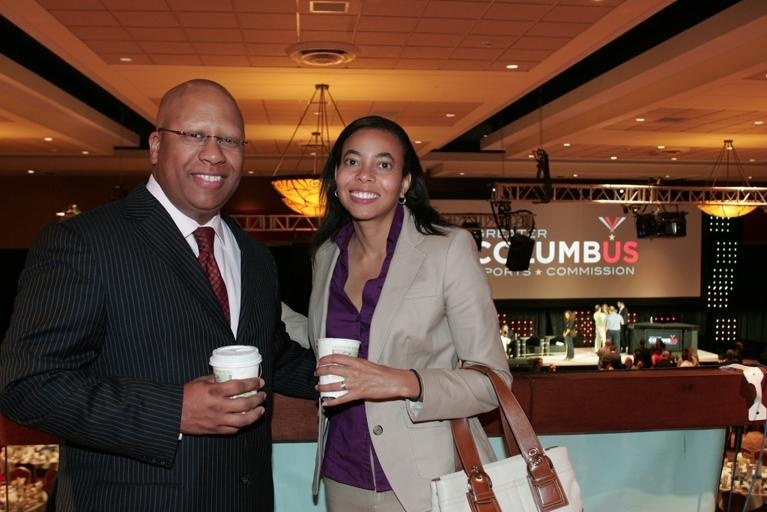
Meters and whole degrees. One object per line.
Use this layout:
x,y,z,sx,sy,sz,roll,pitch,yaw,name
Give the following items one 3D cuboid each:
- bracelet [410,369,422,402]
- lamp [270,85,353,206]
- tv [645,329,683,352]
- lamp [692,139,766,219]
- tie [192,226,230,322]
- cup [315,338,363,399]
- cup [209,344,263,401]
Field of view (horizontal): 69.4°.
0.148,0.551,2.353,0.039,0.096,0.087,-2,-9,-1,bracelet
-0.955,-1.661,8.314,1.476,1.821,1.386,2,11,16,lamp
7.650,2.296,15.020,1.146,0.108,0.728,1,26,18,tv
8.367,-1.924,13.423,1.841,1.821,1.733,-1,-2,1,lamp
-0.737,0.055,2.360,0.123,0.463,0.044,-3,-35,-30,tie
-0.151,0.498,2.435,0.248,0.228,0.235,2,-20,1,cup
-0.561,0.428,2.091,0.204,0.144,0.195,-1,-2,0,cup
